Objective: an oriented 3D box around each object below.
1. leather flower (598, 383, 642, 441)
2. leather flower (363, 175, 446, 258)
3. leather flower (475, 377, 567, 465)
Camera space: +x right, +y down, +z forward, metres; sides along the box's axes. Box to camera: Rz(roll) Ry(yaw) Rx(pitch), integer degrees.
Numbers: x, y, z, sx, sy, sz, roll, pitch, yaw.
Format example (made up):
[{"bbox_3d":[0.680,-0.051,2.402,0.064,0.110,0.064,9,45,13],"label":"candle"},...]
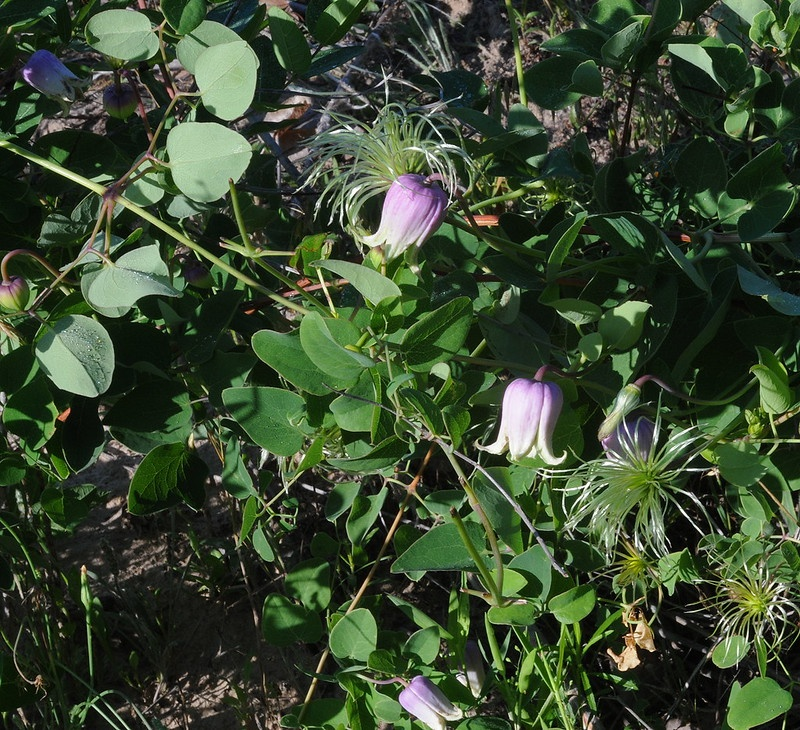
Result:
[{"bbox_3d":[0.310,0.066,1.034,0.028,0.088,0.104,28,6,16],"label":"leather flower"},{"bbox_3d":[0.010,-0.199,0.985,0.082,0.118,0.047,27,4,29],"label":"leather flower"},{"bbox_3d":[0.177,0.071,0.979,0.126,0.096,0.122,2,5,-29],"label":"leather flower"}]
